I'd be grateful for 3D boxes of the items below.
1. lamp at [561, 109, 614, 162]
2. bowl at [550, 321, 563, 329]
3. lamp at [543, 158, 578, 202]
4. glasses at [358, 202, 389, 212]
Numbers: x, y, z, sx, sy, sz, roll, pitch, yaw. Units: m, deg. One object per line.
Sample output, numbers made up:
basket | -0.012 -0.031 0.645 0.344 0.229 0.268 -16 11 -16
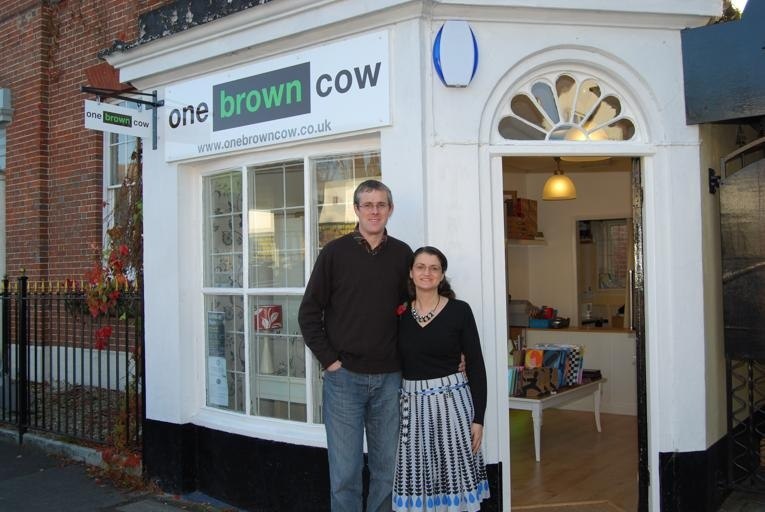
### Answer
lamp | 1.903 -1.149 6.112 0.392 0.384 0.399 6 4 37
bowl | 2.690 1.063 10.209 0.164 0.113 0.150 -1 -1 0
lamp | 2.759 -1.192 10.160 0.562 0.657 0.578 1 3 33
glasses | -0.068 -0.412 5.423 0.245 0.057 0.062 -1 -1 -16
